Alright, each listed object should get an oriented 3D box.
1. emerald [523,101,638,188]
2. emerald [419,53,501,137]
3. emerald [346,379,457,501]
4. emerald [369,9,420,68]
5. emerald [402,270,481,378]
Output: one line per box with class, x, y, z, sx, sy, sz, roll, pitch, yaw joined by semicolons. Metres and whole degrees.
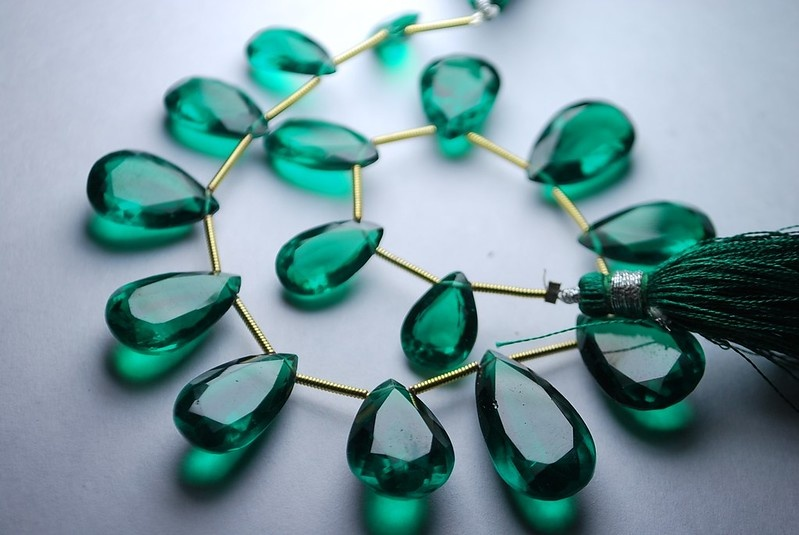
emerald;0.342;-0.220;1.383;0.171;0.072;0.217;26;-21;-38
emerald;0.105;-0.323;1.388;0.144;0.130;0.105;16;31;5
emerald;0.000;0.266;1.112;0.162;0.106;0.128;28;34;23
emerald;-0.007;-0.462;1.477;0.083;0.111;0.026;10;12;-31
emerald;0.073;0.096;1.208;0.121;0.135;0.096;-19;43;-41
